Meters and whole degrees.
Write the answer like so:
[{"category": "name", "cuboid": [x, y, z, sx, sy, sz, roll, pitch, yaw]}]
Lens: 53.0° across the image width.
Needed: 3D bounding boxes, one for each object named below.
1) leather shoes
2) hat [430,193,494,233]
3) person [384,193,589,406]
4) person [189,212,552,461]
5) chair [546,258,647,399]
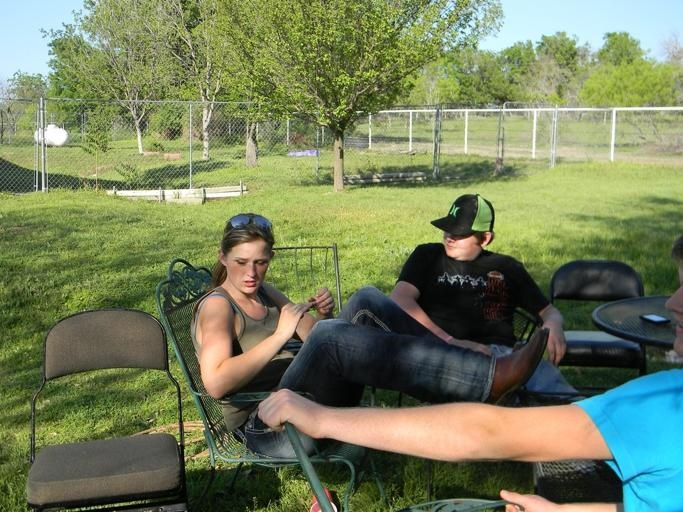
[{"category": "leather shoes", "cuboid": [0.871, 0.549, 3.345, 0.202, 0.534, 0.179, 5, 31, -27]}, {"category": "hat", "cuboid": [0.853, -0.292, 4.710, 0.343, 0.214, 0.255, 0, 12, -10]}, {"category": "person", "cuboid": [0.900, 0.209, 4.820, 0.857, 1.176, 1.433, 1, 2, -14]}, {"category": "person", "cuboid": [0.263, 0.475, 4.066, 2.062, 1.555, 1.080, -1, 13, 21]}, {"category": "chair", "cuboid": [2.071, 0.484, 5.480, 0.677, 1.354, 0.943, 0, 0, 21]}]
